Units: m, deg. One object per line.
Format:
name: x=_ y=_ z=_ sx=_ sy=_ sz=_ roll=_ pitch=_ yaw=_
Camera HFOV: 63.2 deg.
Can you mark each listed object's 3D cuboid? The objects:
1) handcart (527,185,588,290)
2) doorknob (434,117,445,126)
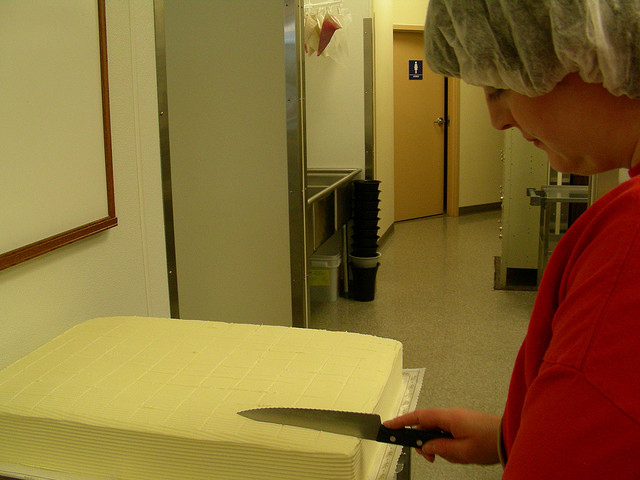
handcart: x=1.873 y=0.012 z=4.176 sx=0.422 sy=0.917 sz=0.557 roll=2 pitch=14 yaw=22
doorknob: x=1.681 y=-1.658 z=7.320 sx=0.162 sy=0.113 sz=0.033 roll=-11 pitch=16 yaw=-31
